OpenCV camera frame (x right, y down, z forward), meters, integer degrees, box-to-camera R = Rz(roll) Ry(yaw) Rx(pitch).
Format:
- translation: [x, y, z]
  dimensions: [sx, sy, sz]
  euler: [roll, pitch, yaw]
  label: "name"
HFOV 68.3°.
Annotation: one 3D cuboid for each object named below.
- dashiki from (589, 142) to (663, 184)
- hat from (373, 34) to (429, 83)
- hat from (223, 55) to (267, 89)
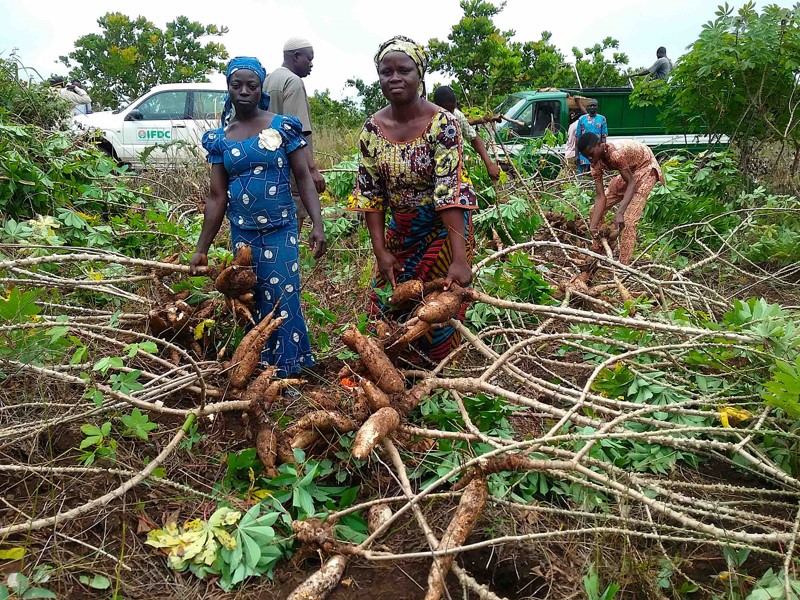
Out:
- translation: [2.168, -1.321, 5.591]
  dimensions: [0.522, 0.335, 0.371]
  euler: [-7, 9, -2]
  label: "dashiki"
- translation: [0.016, -1.363, 3.350]
  dimensions: [0.310, 0.238, 0.214]
  euler: [-4, 18, -2]
  label: "hat"
- translation: [-0.947, -1.399, 3.620]
  dimensions: [0.232, 0.162, 0.151]
  euler: [-7, 19, -13]
  label: "hat"
